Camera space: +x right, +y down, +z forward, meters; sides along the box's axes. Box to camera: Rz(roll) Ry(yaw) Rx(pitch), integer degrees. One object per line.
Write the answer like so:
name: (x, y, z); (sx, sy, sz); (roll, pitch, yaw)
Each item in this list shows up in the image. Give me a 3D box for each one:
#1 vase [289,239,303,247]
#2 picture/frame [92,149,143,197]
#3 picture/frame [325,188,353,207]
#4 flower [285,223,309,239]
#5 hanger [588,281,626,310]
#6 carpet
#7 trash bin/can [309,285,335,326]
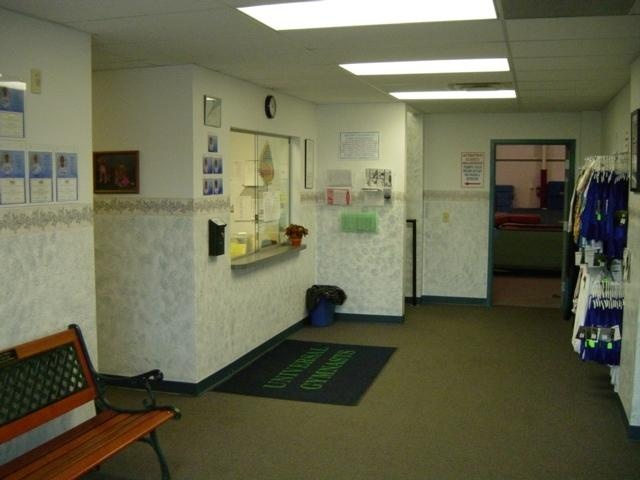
vase: (-0.340, 0.046, 7.100); (0.112, 0.073, 0.113); (-2, 2, -22)
picture/frame: (-1.995, -0.677, 5.084); (0.494, 0.439, 0.044); (2, 6, 12)
picture/frame: (0.285, -0.656, 7.679); (0.385, 0.243, 0.129); (0, 7, -3)
flower: (-0.342, -0.114, 7.084); (0.213, 0.137, 0.221); (-1, 8, -9)
hanger: (2.828, 0.552, 5.022); (0.316, 0.338, 0.040); (0, -3, 13)
carpet: (-0.095, 1.467, 5.811); (1.555, 0.061, 1.786); (3, 9, 19)
trash bin/can: (0.027, 0.983, 7.720); (0.478, 0.554, 0.491); (-2, 2, -26)
